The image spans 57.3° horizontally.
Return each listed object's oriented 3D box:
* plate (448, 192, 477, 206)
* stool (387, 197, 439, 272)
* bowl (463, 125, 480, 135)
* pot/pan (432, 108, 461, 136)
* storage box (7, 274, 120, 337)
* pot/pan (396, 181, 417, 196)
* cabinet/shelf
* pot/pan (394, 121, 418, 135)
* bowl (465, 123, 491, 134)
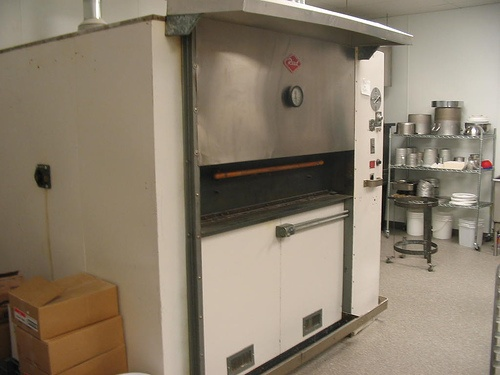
[{"bbox_3d":[2.885,0.166,6.221,0.328,0.135,0.194,3,12,23],"label":"plate"},{"bbox_3d":[2.100,0.578,5.849,0.663,0.868,0.750,-2,8,-3],"label":"stool"},{"bbox_3d":[2.990,-0.750,6.156,0.056,0.144,0.133,10,-5,-39],"label":"bowl"},{"bbox_3d":[2.786,-0.906,6.504,0.341,0.404,0.352,-3,-6,44],"label":"pot/pan"},{"bbox_3d":[-1.143,0.720,2.904,0.415,0.253,0.416,7,10,42],"label":"storage box"},{"bbox_3d":[2.294,-0.007,6.706,0.227,0.121,0.224,3,4,43],"label":"pot/pan"},{"bbox_3d":[2.723,0.014,6.443,1.335,1.750,0.610,9,17,36],"label":"cabinet/shelf"},{"bbox_3d":[2.232,-0.838,6.587,0.260,0.178,0.152,1,12,16],"label":"pot/pan"},{"bbox_3d":[3.061,-0.805,6.182,0.198,0.158,0.272,-5,18,-34],"label":"bowl"}]
